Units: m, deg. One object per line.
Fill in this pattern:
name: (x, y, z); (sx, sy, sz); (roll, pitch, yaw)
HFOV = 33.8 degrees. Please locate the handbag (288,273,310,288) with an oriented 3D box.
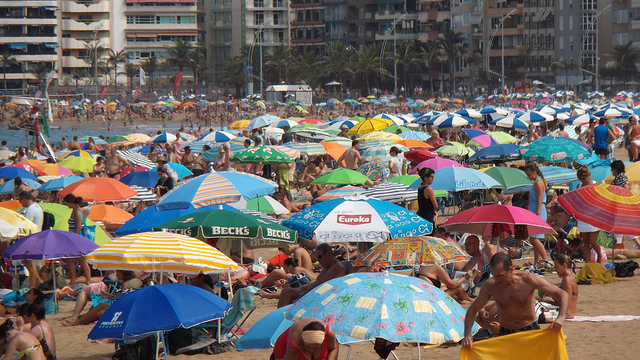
handbag: (-1.619, 7.802, 82.046); (1.196, 0.968, 0.933); (-32, -4, 14)

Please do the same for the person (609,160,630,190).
person: (23.801, -0.382, 83.716); (1.313, 2.142, 0.773); (0, 8, 15)

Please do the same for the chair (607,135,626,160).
chair: (26.941, -2.901, 95.993); (1.453, 1.946, 1.659); (-17, 18, -40)
